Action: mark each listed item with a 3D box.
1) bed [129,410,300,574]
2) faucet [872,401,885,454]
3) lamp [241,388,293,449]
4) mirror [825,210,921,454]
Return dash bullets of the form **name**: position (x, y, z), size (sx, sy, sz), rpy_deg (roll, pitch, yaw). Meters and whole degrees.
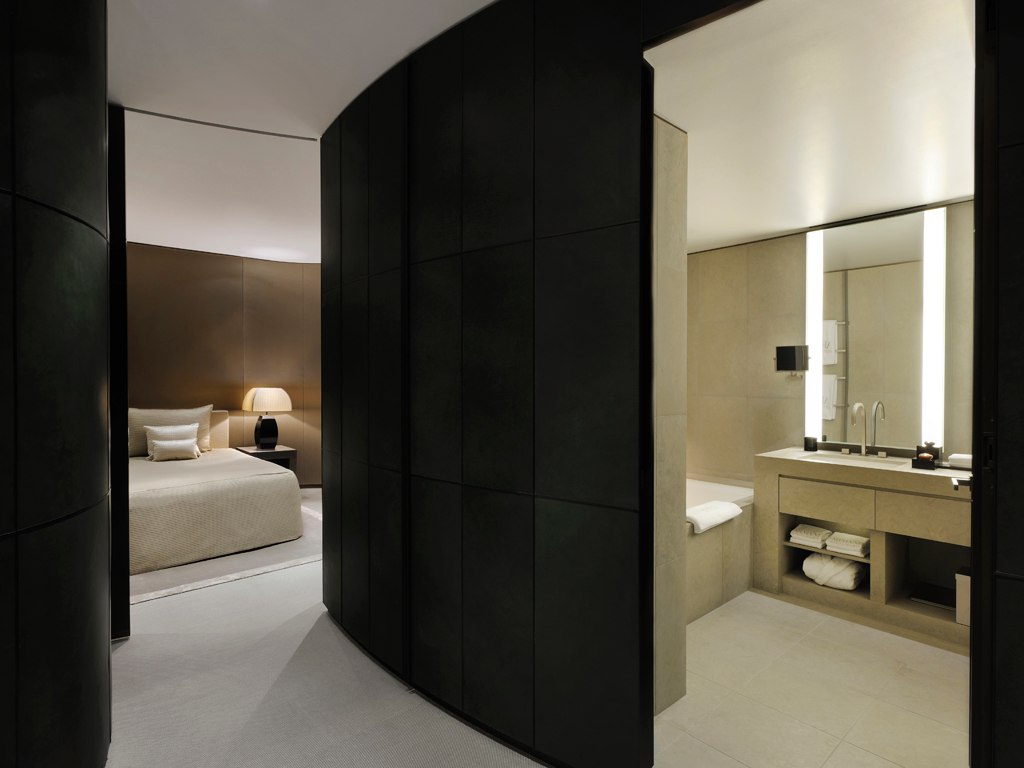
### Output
- **bed**: position (-2.517, 0.718, 6.342), size (0.899, 0.836, 1.626), rpy_deg (-2, 1, -31)
- **faucet**: position (2.306, 0.248, 5.055), size (0.028, 0.314, 0.076), rpy_deg (-5, 12, -24)
- **lamp**: position (-2.473, 0.341, 8.073), size (0.447, 0.691, 0.492), rpy_deg (5, 12, 28)
- **mirror**: position (2.287, -0.334, 5.088), size (0.699, 1.441, 0.316), rpy_deg (9, 14, 37)
